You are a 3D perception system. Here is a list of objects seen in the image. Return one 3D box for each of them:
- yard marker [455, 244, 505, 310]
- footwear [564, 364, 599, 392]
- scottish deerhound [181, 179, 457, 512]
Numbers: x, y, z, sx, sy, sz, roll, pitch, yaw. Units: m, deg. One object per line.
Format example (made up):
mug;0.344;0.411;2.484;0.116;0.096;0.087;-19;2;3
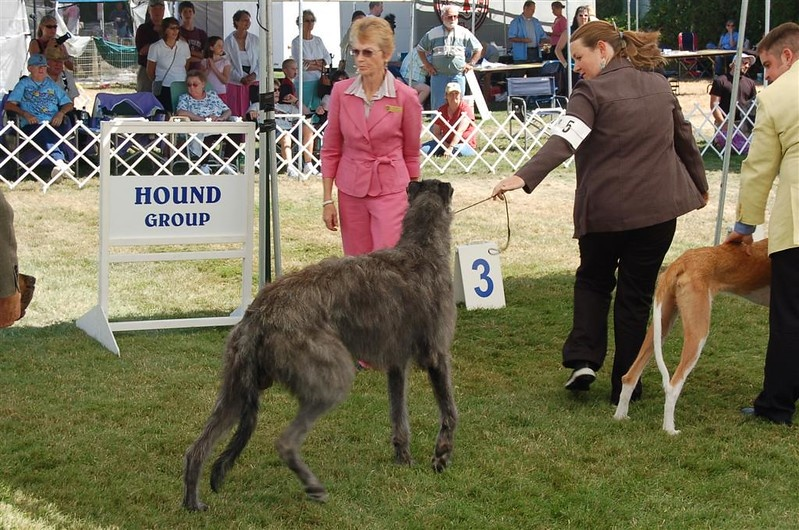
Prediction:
yard marker;0.895;0.154;9.984;0.635;0.870;0.466;-6;7;-24
footwear;1.609;1.013;7.853;0.146;0.160;0.376;2;-17;-5
scottish deerhound;-1.344;0.737;6.799;1.793;2.304;3.460;2;-4;-26
